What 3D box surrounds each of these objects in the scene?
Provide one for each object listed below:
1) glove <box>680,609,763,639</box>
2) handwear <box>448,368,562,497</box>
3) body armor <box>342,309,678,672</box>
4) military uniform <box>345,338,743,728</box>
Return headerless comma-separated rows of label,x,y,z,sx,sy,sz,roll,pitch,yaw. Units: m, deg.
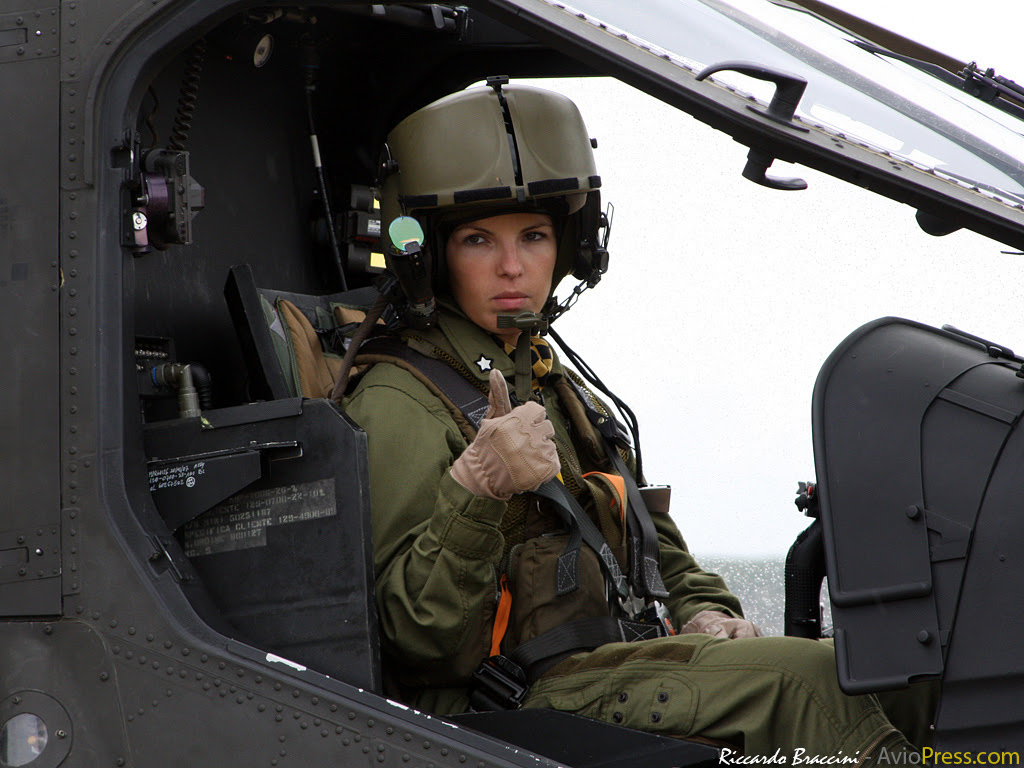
glove,0.539,0.605,3.235,0.107,0.065,0.140,4,-2,-41
handwear,-0.004,0.093,2.699,0.254,0.258,0.068,-2,13,-16
body armor,0.044,0.331,3.144,0.895,0.878,0.481,-1,-22,-42
military uniform,0.121,0.429,3.162,1.094,1.047,0.587,13,-33,-44
